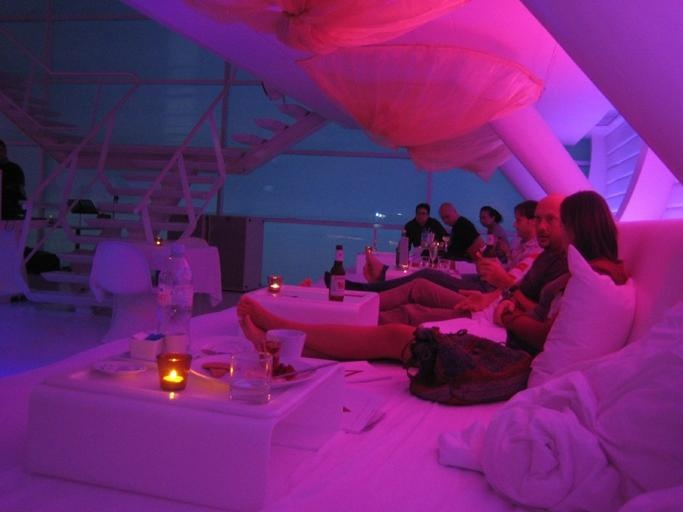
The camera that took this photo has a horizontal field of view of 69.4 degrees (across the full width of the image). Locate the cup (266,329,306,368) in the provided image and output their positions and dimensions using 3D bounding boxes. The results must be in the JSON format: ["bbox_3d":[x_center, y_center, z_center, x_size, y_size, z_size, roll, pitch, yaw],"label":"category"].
[{"bbox_3d":[-0.195,0.337,1.788,0.111,0.094,0.105,0,1,0],"label":"cup"}]

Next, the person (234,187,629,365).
[{"bbox_3d":[0.305,0.128,2.689,2.016,1.038,0.879,1,3,19],"label":"person"}]

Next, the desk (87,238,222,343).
[{"bbox_3d":[-1.630,0.211,4.494,0.910,0.962,1.241,4,11,25],"label":"desk"}]

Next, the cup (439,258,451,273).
[{"bbox_3d":[1.018,0.099,4.884,0.130,0.140,0.248,-2,-3,12],"label":"cup"}]

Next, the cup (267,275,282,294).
[{"bbox_3d":[-0.404,0.167,2.954,0.087,0.100,0.088,1,-2,0],"label":"cup"}]

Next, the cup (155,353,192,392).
[{"bbox_3d":[-0.497,0.333,1.467,0.105,0.098,0.101,1,-1,0],"label":"cup"}]

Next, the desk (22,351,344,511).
[{"bbox_3d":[-0.476,0.531,1.540,0.952,0.348,0.436,-1,14,-1],"label":"desk"}]

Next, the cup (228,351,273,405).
[{"bbox_3d":[-0.265,0.351,1.435,0.127,0.132,0.131,1,-5,0],"label":"cup"}]
